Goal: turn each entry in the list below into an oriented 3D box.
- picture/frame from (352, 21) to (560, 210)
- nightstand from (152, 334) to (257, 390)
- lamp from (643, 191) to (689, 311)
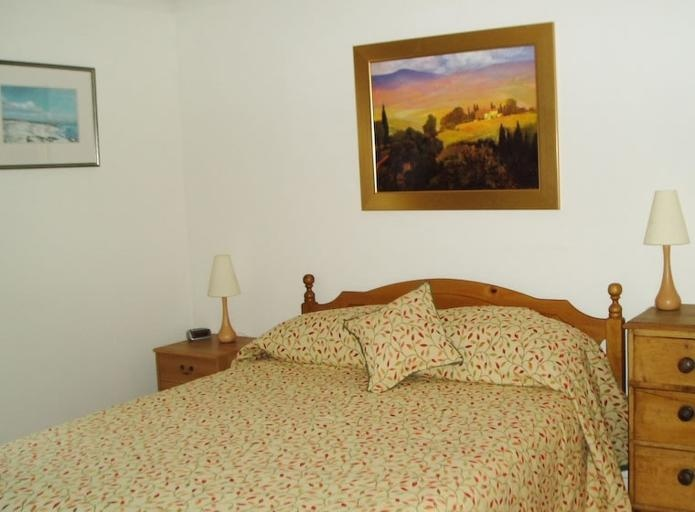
[{"bbox_3d":[0.745,-0.924,3.451,1.310,1.117,0.051,-1,11,22],"label":"picture/frame"},{"bbox_3d":[-1.064,0.697,3.912,0.510,0.502,0.446,3,7,27],"label":"nightstand"},{"bbox_3d":[1.746,-0.036,2.941,0.206,0.647,0.291,3,11,32],"label":"lamp"}]
